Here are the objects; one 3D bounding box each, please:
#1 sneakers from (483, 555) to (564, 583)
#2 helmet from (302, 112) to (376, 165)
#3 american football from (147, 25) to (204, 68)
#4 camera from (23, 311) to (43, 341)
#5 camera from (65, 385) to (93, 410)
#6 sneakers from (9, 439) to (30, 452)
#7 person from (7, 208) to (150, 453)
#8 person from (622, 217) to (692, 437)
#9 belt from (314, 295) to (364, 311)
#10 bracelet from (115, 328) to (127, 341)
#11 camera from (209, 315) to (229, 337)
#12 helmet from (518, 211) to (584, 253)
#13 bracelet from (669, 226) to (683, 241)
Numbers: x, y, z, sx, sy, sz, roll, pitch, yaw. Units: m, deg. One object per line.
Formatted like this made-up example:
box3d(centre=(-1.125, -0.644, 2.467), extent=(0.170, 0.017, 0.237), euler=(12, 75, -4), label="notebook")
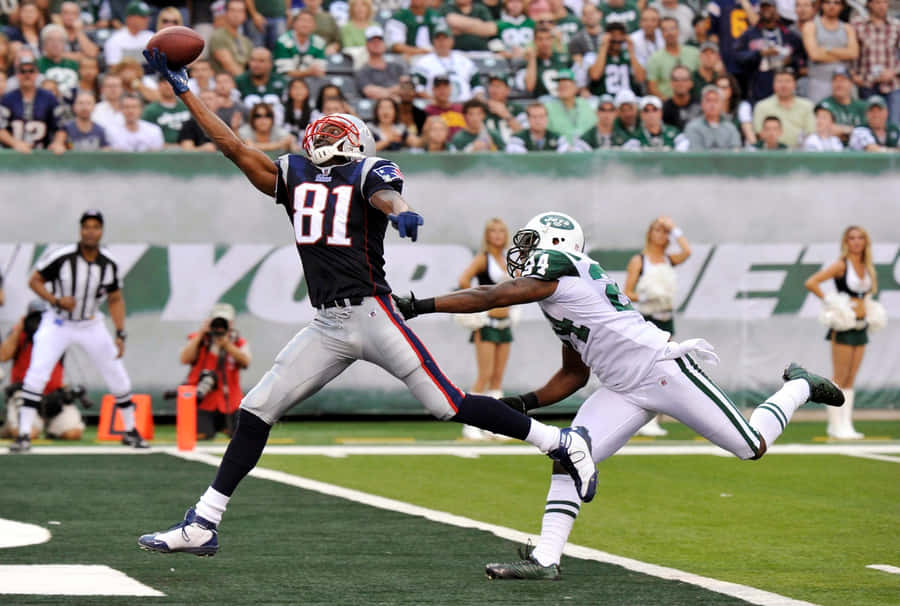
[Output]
box3d(centre=(0.553, 1.957, 10.310), extent=(0.546, 0.213, 0.200), euler=(7, -10, 1), label="sneakers")
box3d(centre=(-0.841, -1.289, 10.837), extent=(0.503, 0.423, 0.566), euler=(2, -4, 29), label="helmet")
box3d(centre=(-2.196, -2.036, 10.874), extent=(0.441, 0.301, 0.314), euler=(-5, -11, 9), label="american football")
box3d(centre=(-4.382, 0.203, 14.428), extent=(0.205, 0.249, 0.273), euler=(1, 11, 3), label="camera")
box3d(centre=(-4.010, 0.983, 14.800), extent=(0.230, 0.174, 0.103), euler=(44, 43, 11), label="camera")
box3d(centre=(-4.288, 1.357, 13.703), extent=(0.191, 0.145, 0.226), euler=(-1, 8, -17), label="sneakers")
box3d(centre=(-3.759, 0.258, 13.944), extent=(1.261, 2.389, 0.555), euler=(-2, 8, -19), label="person")
box3d(centre=(2.278, 0.194, 15.380), extent=(0.718, 2.317, 0.699), euler=(2, 4, 21), label="person")
box3d(centre=(-0.865, -0.019, 10.466), extent=(0.405, 0.127, 0.111), euler=(5, 8, 25), label="belt")
box3d(centre=(-3.452, 0.302, 14.394), extent=(0.076, 0.102, 0.129), euler=(-15, -4, -3), label="bracelet")
box3d(centre=(-2.479, 0.215, 14.726), extent=(0.198, 0.192, 0.205), euler=(3, 7, 43), label="camera")
box3d(centre=(0.820, -0.540, 10.892), extent=(0.495, 0.395, 0.384), euler=(2, -3, 8), label="helmet")
box3d(centre=(2.558, -0.817, 15.745), extent=(0.153, 0.162, 0.138), euler=(2, -10, 27), label="bracelet")
